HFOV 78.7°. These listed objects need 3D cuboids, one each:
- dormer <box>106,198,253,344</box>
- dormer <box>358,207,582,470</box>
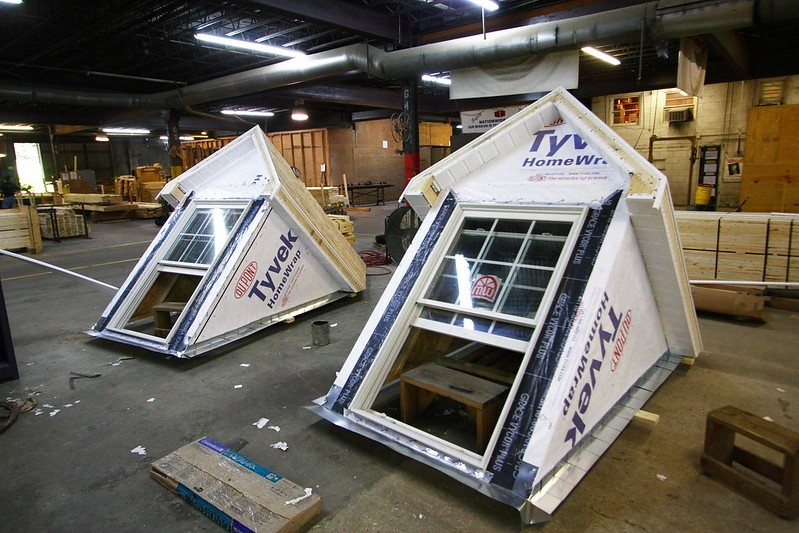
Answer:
[{"bbox_3d":[-3.280,0.047,7.034,2.091,1.879,1.453,-11,17,-25],"label":"dormer"},{"bbox_3d":[0.784,0.577,5.128,1.533,2.208,1.703,9,20,38],"label":"dormer"}]
